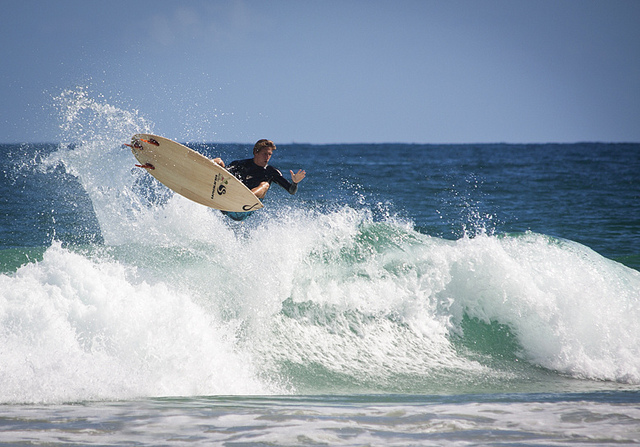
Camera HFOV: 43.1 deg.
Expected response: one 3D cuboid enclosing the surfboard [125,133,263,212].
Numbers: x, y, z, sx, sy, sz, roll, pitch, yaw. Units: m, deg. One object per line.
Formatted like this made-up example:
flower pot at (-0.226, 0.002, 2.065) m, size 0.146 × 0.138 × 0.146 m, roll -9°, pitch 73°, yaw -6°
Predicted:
surfboard at (-2.570, -1.000, 16.240) m, size 2.592 × 1.393 × 0.206 m, roll 8°, pitch 19°, yaw 9°
